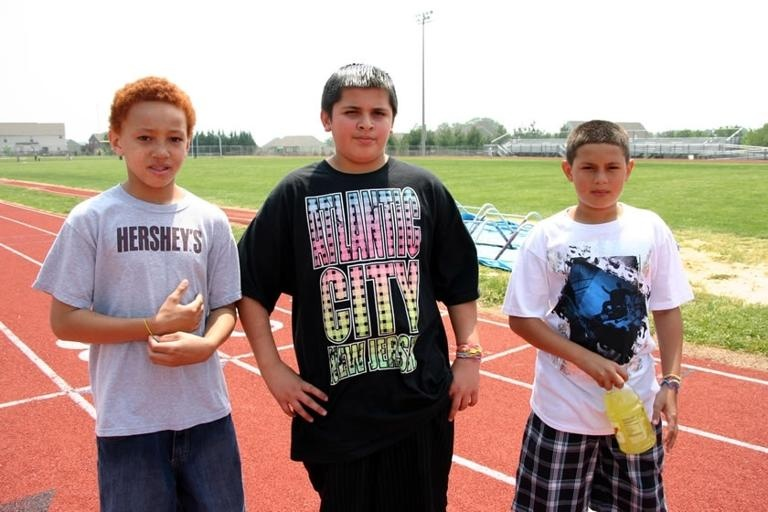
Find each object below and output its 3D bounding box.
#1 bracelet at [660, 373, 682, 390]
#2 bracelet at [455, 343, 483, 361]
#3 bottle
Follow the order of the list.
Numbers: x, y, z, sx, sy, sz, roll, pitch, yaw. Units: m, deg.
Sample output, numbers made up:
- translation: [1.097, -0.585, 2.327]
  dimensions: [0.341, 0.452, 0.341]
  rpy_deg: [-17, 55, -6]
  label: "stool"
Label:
- translation: [1.619, 0.703, 2.997]
  dimensions: [0.096, 0.055, 0.083]
  rpy_deg: [5, 1, -31]
  label: "bracelet"
- translation: [0.463, 0.514, 2.863]
  dimensions: [0.106, 0.061, 0.084]
  rpy_deg: [1, 0, -23]
  label: "bracelet"
- translation: [1.308, 0.871, 2.850]
  dimensions: [0.242, 0.320, 0.147]
  rpy_deg: [9, 16, 37]
  label: "bottle"
